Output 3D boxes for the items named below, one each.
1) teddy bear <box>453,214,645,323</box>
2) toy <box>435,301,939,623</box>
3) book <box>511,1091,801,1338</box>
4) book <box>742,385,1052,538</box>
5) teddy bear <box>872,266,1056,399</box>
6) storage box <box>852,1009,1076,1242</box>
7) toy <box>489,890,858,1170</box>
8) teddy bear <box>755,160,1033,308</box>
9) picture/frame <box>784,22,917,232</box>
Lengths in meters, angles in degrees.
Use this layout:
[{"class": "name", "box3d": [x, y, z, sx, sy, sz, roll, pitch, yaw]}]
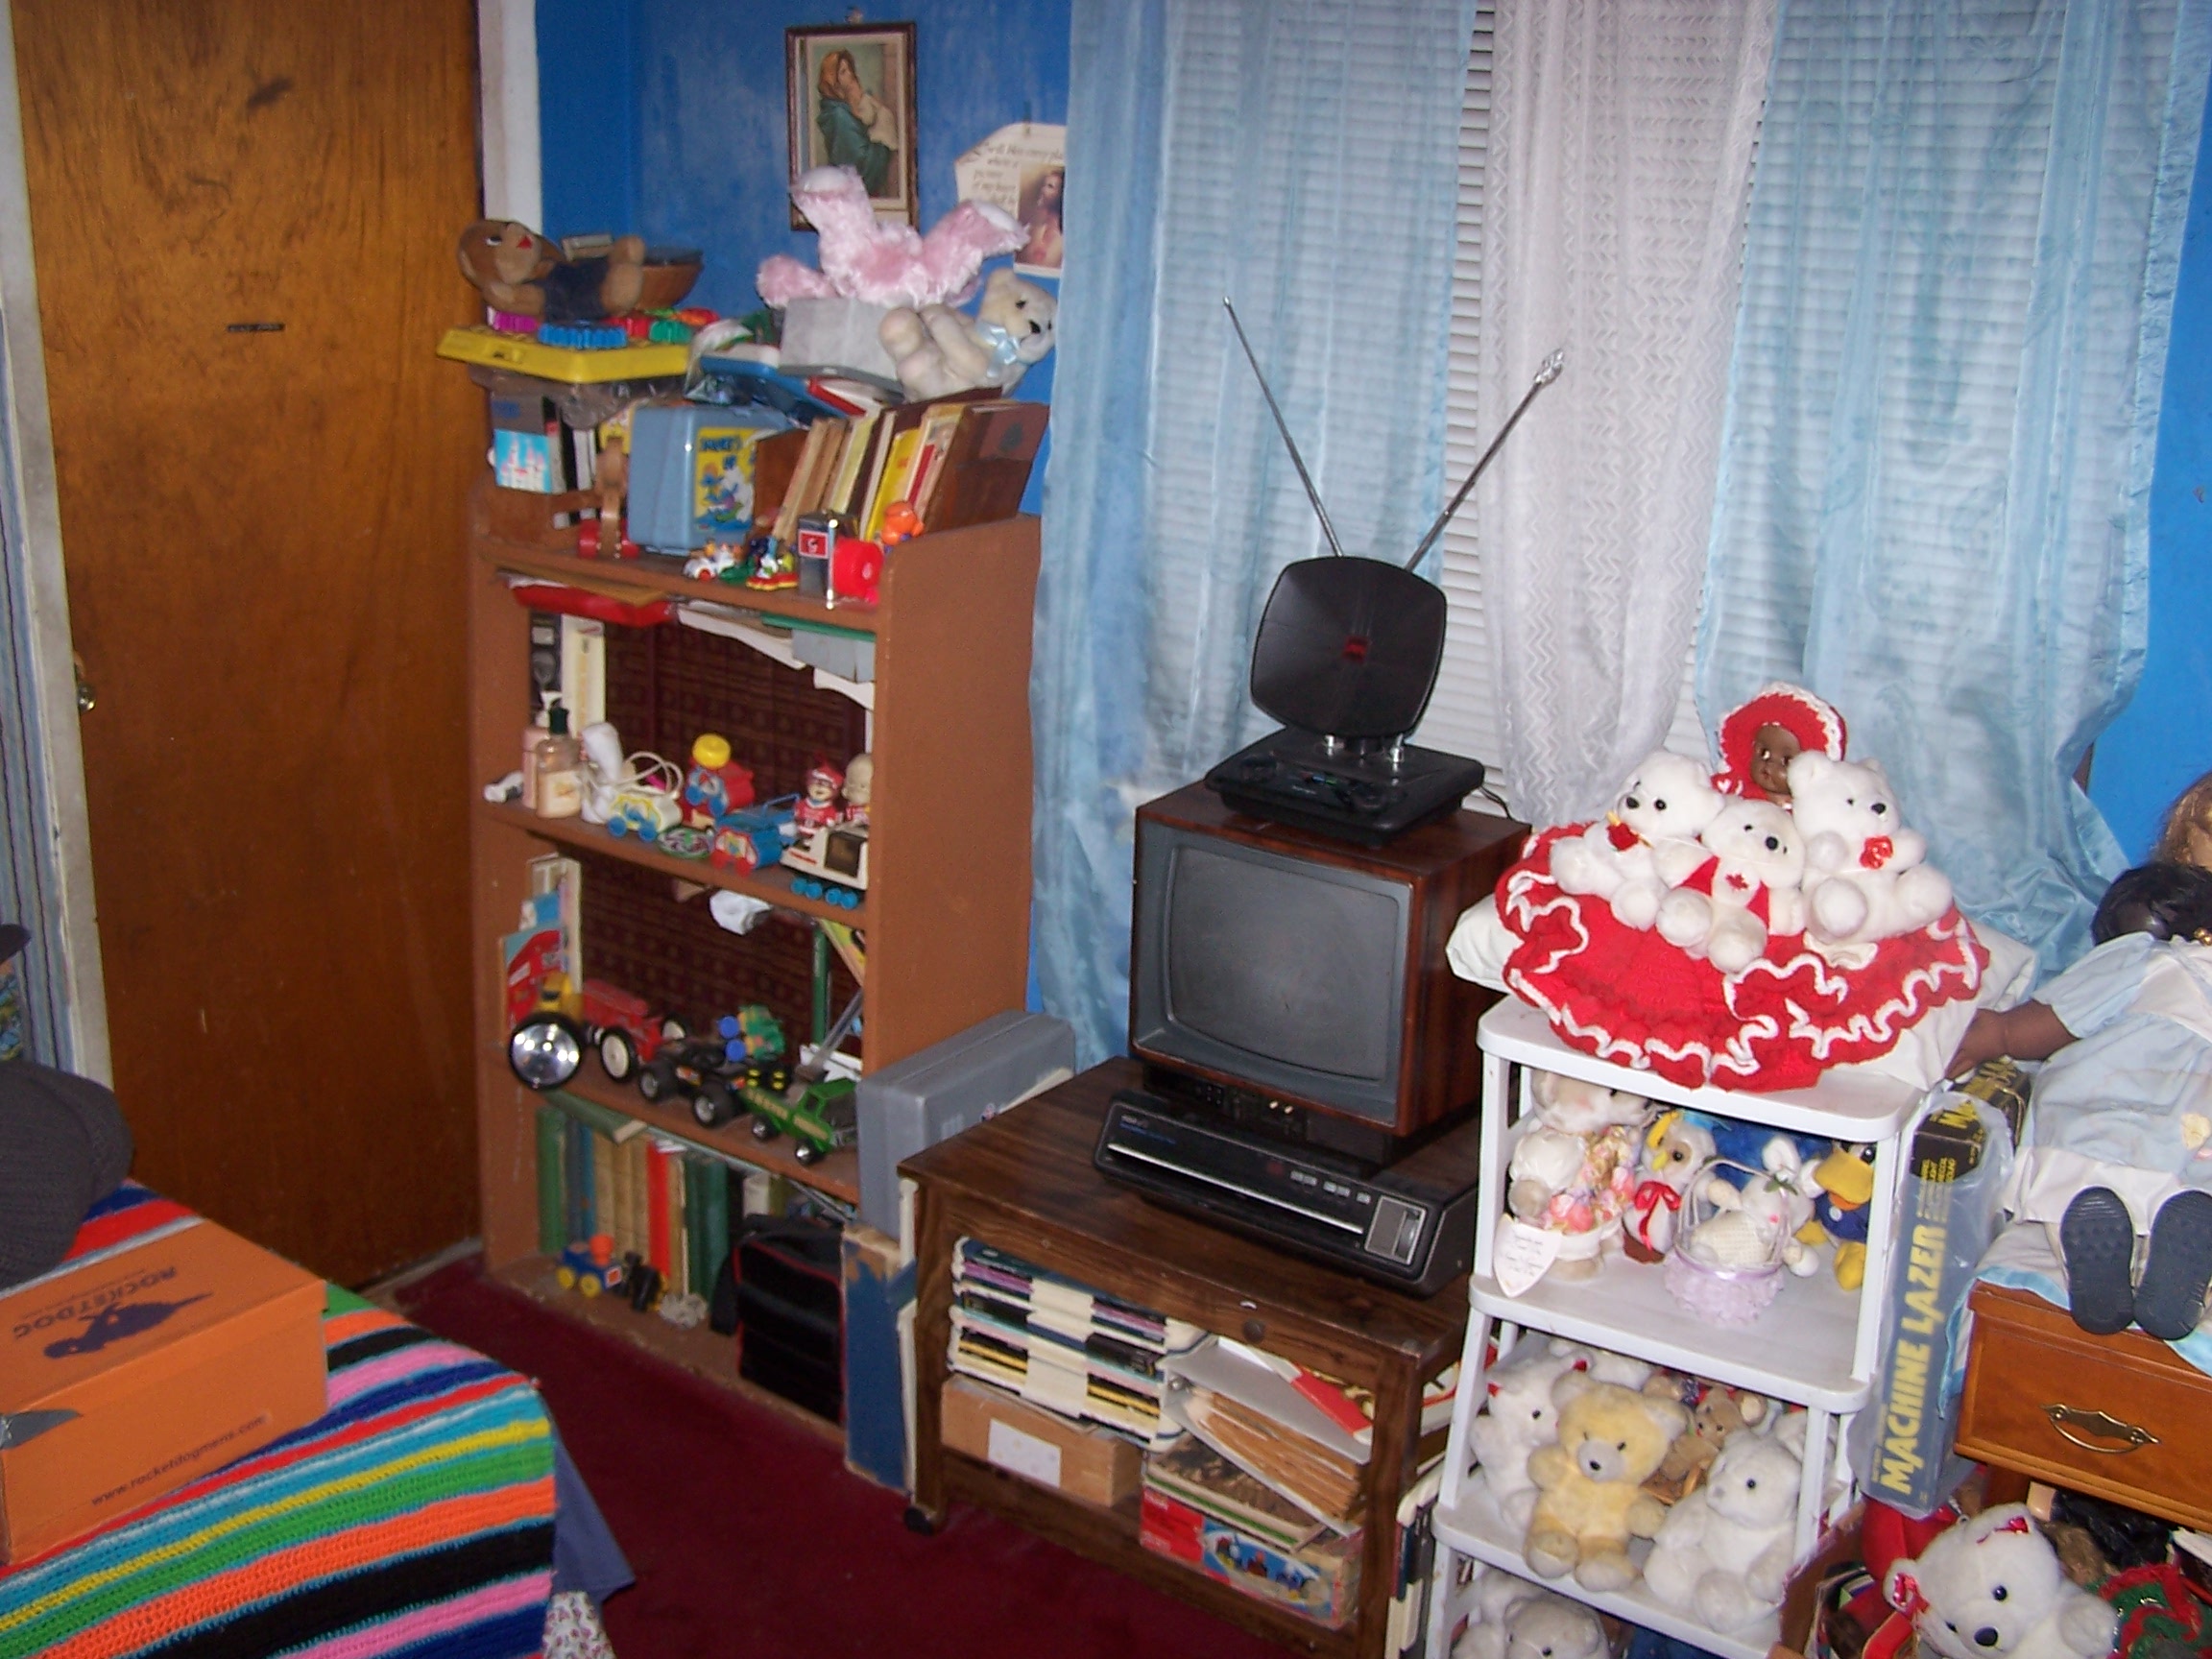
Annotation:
[{"class": "teddy bear", "box3d": [-1.005, -1.005, 3.292, 0.215, 0.112, 0.239, 15, 23, 27]}, {"class": "toy", "box3d": [-0.995, -0.733, 3.534, 0.467, 0.417, 0.407, 20, 29, 31]}, {"class": "book", "box3d": [-0.857, 0.748, 3.526, 0.388, 0.384, 0.221, 14, 17, 27]}, {"class": "book", "box3d": [-0.337, -0.600, 3.076, 0.464, 0.256, 0.256, 3, 17, -4]}, {"class": "teddy bear", "box3d": [-0.240, -0.853, 3.118, 0.295, 0.220, 0.173, 0, 17, -12]}, {"class": "storage box", "box3d": [-0.243, 0.501, 3.016, 0.127, 0.235, 0.325, 11, 23, 36]}, {"class": "toy", "box3d": [-0.834, 0.486, 3.553, 0.682, 0.324, 0.434, 22, 23, 22]}, {"class": "teddy bear", "box3d": [-0.368, -0.971, 3.174, 0.399, 0.152, 0.427, -13, -6, 39]}, {"class": "picture/frame", "box3d": [-0.445, -1.255, 3.217, 0.346, 0.414, 0.017, 15, 24, 32]}]
